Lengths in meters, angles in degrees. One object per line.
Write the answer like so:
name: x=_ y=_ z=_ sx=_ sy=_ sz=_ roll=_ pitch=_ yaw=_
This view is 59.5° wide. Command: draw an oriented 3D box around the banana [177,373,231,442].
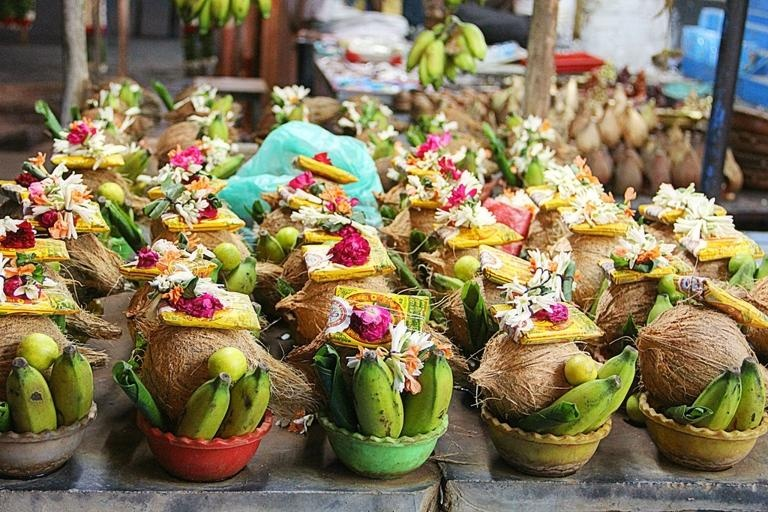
banana: x=-0.609 y=0.530 z=2.392 sx=0.156 sy=0.215 sz=0.203 roll=2 pitch=13 yaw=-9

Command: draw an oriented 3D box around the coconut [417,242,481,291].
coconut: x=0.319 y=0.046 z=3.245 sx=0.303 sy=0.208 sz=0.300 roll=-7 pitch=12 yaw=-34

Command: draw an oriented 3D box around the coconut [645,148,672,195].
coconut: x=2.267 y=-0.686 z=5.526 sx=0.206 sy=0.353 sz=0.247 roll=0 pitch=21 yaw=-8

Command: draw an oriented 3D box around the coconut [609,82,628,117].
coconut: x=1.929 y=-1.296 z=5.531 sx=0.116 sy=0.240 sz=0.092 roll=19 pitch=26 yaw=35

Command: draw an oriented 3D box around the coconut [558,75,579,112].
coconut: x=1.508 y=-1.297 z=5.446 sx=0.115 sy=0.297 sz=0.116 roll=5 pitch=0 yaw=-39

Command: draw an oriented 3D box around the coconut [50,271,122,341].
coconut: x=-1.337 y=0.224 z=3.015 sx=0.201 sy=0.333 sz=0.434 roll=-1 pitch=2 yaw=-24

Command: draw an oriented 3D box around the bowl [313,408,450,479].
bowl: x=0.012 y=0.714 z=2.589 sx=0.490 sy=0.174 sz=0.458 roll=2 pitch=4 yaw=0

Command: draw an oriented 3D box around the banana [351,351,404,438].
banana: x=-0.017 y=0.513 z=2.427 sx=0.137 sy=0.321 sz=0.167 roll=-27 pitch=10 yaw=-22

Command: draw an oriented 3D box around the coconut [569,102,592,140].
coconut: x=1.629 y=-1.120 z=5.604 sx=0.098 sy=0.271 sz=0.214 roll=31 pitch=7 yaw=-14

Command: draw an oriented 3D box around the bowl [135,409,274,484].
bowl: x=-0.692 y=0.695 z=2.520 sx=0.479 sy=0.164 sz=0.441 roll=6 pitch=3 yaw=0

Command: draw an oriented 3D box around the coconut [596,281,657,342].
coconut: x=1.058 y=0.226 z=2.980 sx=0.291 sy=0.237 sz=0.352 roll=0 pitch=12 yaw=-4

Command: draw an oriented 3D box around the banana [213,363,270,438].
banana: x=-0.472 y=0.520 z=2.420 sx=0.122 sy=0.341 sz=0.127 roll=28 pitch=5 yaw=-6

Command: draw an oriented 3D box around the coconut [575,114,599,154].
coconut: x=1.680 y=-0.982 z=5.531 sx=0.183 sy=0.265 sz=0.194 roll=4 pitch=20 yaw=1

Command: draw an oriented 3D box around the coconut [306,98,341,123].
coconut: x=-0.453 y=-1.085 z=5.005 sx=0.274 sy=0.176 sz=0.285 roll=-3 pitch=20 yaw=-16

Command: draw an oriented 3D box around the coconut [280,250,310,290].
coconut: x=-0.405 y=0.069 z=3.117 sx=0.072 sy=0.191 sz=0.138 roll=-9 pitch=-38 yaw=37

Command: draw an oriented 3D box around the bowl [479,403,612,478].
bowl: x=0.577 y=0.716 z=2.509 sx=0.425 sy=0.223 sz=0.361 roll=-1 pitch=9 yaw=-3

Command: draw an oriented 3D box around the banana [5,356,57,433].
banana: x=-1.195 y=0.478 z=2.272 sx=0.145 sy=0.261 sz=0.081 roll=2 pitch=21 yaw=-5

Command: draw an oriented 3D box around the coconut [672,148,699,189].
coconut: x=2.460 y=-0.714 z=5.487 sx=0.213 sy=0.304 sz=0.295 roll=10 pitch=21 yaw=18

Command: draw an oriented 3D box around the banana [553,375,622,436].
banana: x=0.758 y=0.543 z=2.488 sx=0.319 sy=0.146 sz=0.116 roll=-38 pitch=-7 yaw=7

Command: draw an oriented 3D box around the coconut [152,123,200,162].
coconut: x=-1.326 y=-0.733 z=4.400 sx=0.269 sy=0.258 sz=0.374 roll=-10 pitch=23 yaw=-33

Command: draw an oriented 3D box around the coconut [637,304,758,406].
coconut: x=1.188 y=0.359 z=2.762 sx=0.452 sy=0.399 sz=0.341 roll=-8 pitch=-2 yaw=-6

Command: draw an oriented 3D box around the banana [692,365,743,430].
banana: x=1.239 y=0.535 z=2.509 sx=0.137 sy=0.248 sz=0.063 roll=11 pitch=23 yaw=20

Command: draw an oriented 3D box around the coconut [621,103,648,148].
coconut: x=2.064 y=-1.078 z=5.570 sx=0.214 sy=0.321 sz=0.138 roll=-15 pitch=14 yaw=39

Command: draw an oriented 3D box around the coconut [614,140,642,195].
coconut: x=2.006 y=-0.701 z=5.545 sx=0.266 sy=0.408 sz=0.225 roll=10 pitch=22 yaw=17
